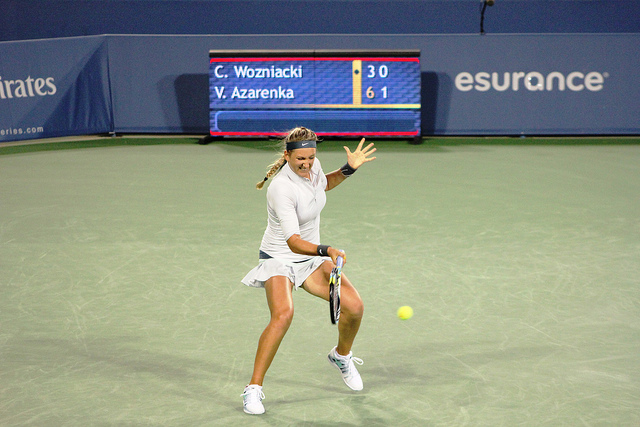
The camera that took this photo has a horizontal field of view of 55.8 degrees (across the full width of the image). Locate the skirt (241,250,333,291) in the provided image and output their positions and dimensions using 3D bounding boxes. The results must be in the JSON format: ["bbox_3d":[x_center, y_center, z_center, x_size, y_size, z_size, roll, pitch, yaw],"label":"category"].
[{"bbox_3d":[-0.365,0.581,6.260,0.850,0.365,0.319,0,8,8],"label":"skirt"}]

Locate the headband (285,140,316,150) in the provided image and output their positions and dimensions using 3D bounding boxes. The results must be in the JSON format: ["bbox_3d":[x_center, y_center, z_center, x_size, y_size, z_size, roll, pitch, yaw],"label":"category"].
[{"bbox_3d":[-0.200,-0.708,6.189,0.307,0.094,0.143,-1,8,1],"label":"headband"}]

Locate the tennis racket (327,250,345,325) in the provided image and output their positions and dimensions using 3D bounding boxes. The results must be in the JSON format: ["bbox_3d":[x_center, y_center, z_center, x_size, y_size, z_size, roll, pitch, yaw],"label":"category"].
[{"bbox_3d":[0.164,0.737,5.941,0.132,0.673,0.168,-12,2,8],"label":"tennis racket"}]

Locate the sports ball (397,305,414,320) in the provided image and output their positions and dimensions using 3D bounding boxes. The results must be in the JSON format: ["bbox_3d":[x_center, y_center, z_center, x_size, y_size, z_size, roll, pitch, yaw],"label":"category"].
[{"bbox_3d":[0.944,1.123,6.815,0.184,0.167,0.177,10,10,-2],"label":"sports ball"}]
